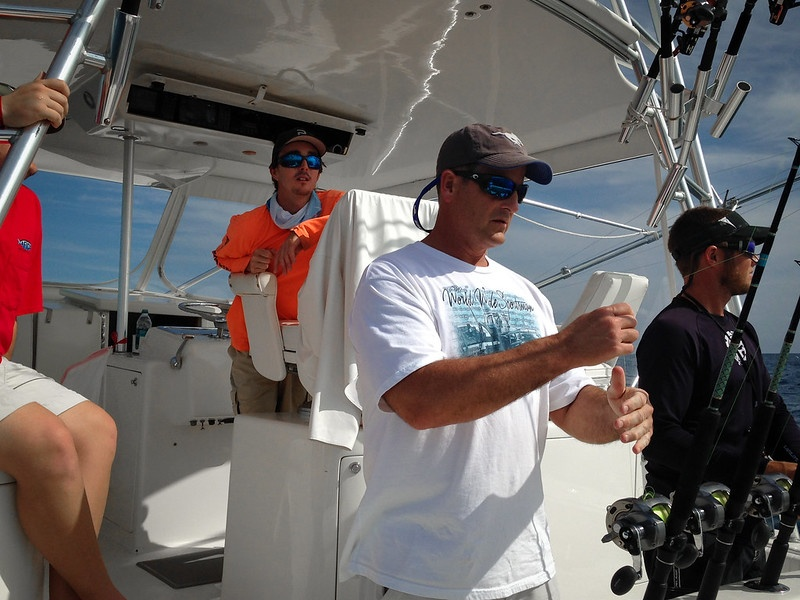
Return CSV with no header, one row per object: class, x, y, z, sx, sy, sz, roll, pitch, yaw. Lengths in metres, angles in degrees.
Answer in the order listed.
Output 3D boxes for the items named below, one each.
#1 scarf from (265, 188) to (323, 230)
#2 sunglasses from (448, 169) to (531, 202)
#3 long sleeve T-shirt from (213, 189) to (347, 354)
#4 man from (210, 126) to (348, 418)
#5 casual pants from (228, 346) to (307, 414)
scarf,-0.535,-0.438,3.269,0.188,0.241,0.121,-2,-19,2
sunglasses,0.250,-0.311,1.689,0.117,0.037,0.104,28,7,30
long sleeve T-shirt,-0.636,-0.169,3.040,0.587,0.839,0.601,8,0,-8
man,-0.523,-0.020,3.193,0.836,1.047,0.682,1,-10,2
casual pants,-0.686,0.434,3.235,0.414,0.339,0.197,8,0,-13
